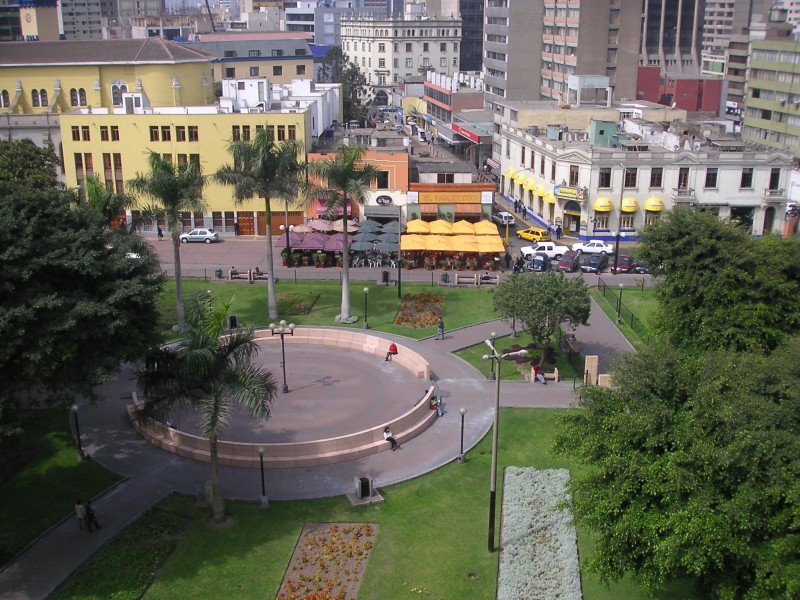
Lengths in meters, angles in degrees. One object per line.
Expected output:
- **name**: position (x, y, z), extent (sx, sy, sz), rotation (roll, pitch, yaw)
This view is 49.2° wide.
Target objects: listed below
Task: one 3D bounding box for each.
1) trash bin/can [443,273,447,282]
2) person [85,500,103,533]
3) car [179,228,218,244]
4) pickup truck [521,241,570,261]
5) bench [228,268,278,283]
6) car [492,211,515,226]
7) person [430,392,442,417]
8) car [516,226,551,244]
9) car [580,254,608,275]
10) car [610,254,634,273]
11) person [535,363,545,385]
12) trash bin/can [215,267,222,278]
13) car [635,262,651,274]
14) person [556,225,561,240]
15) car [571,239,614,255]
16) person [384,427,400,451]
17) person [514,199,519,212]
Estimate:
- **trash bin/can**: position (5.061, -2.171, 97.066), extent (0.637, 1.048, 0.687), rotation (-1, 1, -12)
- **person**: position (-20.230, 14.096, 58.057), extent (0.780, 1.826, 1.327), rotation (-10, 17, -24)
- **car**: position (-25.400, -7.757, 112.646), extent (3.667, 1.569, 2.138), rotation (3, 9, -1)
- **pickup truck**: position (17.518, -5.714, 105.806), extent (4.398, 1.748, 2.479), rotation (4, 14, 14)
- **bench**: position (-16.951, -2.693, 98.333), extent (4.272, 1.365, 2.942), rotation (-1, 17, 9)
- **car**: position (14.024, -10.442, 116.467), extent (1.645, 1.453, 2.937), rotation (-5, 22, -15)
- **person**: position (3.042, 8.616, 71.187), extent (1.064, 1.552, 0.417), rotation (3, -3, -25)
- **car**: position (17.163, -8.004, 111.812), extent (2.805, 1.344, 1.954), rotation (18, 21, 37)
- **car**: position (22.982, -4.033, 102.602), extent (2.262, 1.477, 5.476), rotation (6, 19, 30)
- **car**: position (26.041, -3.885, 101.959), extent (2.196, 1.412, 4.788), rotation (5, 19, 26)
- **person**: position (12.078, 6.525, 75.533), extent (0.879, 1.274, 1.272), rotation (-6, 16, -10)
- **trash bin/can**: position (-20.154, -2.826, 98.314), extent (0.801, 0.984, 3.082), rotation (-6, 17, -10)
- **car**: position (25.936, -3.155, 93.487), extent (1.472, 0.767, 2.379), rotation (1, 5, 12)
- **person**: position (20.593, -8.410, 113.135), extent (0.502, 1.593, 0.791), rotation (0, 15, 10)
- **car**: position (23.493, -5.630, 106.255), extent (4.185, 1.537, 2.177), rotation (4, 12, 9)
- **person**: position (-0.564, 10.383, 66.119), extent (1.141, 1.781, 0.738), rotation (-4, 15, -2)
- **person**: position (16.907, -12.879, 125.541), extent (0.655, 1.839, 1.367), rotation (-2, 15, 5)
